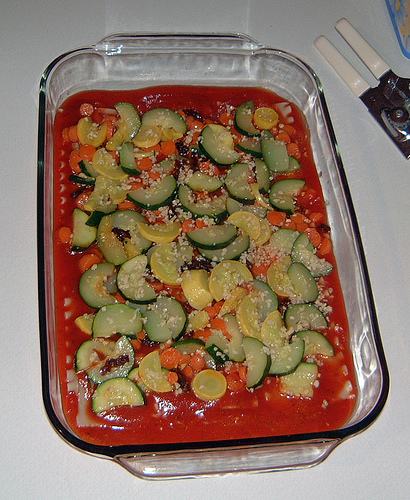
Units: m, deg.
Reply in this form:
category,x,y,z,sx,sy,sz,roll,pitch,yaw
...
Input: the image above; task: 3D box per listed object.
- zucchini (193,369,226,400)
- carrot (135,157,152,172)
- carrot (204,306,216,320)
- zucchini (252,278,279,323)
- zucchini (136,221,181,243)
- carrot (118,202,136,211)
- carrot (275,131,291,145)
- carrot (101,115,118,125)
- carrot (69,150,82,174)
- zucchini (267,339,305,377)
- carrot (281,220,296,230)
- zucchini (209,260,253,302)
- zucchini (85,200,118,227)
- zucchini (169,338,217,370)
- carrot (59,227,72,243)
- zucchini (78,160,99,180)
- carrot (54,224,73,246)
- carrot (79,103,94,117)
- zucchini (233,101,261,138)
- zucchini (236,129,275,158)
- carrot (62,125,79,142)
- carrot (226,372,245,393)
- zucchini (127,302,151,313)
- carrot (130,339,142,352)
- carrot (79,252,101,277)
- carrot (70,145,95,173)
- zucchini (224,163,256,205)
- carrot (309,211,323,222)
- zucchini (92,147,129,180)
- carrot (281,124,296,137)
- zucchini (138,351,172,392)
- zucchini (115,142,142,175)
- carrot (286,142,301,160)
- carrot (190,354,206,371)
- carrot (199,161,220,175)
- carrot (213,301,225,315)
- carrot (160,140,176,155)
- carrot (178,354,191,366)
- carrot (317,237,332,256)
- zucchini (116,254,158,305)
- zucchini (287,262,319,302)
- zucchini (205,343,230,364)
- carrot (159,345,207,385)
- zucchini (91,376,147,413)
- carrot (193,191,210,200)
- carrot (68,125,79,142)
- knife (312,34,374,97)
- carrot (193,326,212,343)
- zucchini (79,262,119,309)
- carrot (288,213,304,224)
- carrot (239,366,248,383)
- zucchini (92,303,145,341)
category,x,y,z,sx,sy,sz,roll,pitch,yaw
zucchini,0.020,0.539,2.096,0.113,0.068,0.116,-19,49,-31
carrot,-0.272,-0.377,2.336,0.064,0.029,0.055,-5,90,-4
carrot,0.024,0.264,2.187,0.043,0.028,0.047,-1,71,-20
zucchini,0.251,0.205,2.226,0.123,0.032,0.258,14,21,8
zucchini,-0.182,-0.078,2.236,0.202,0.079,0.092,-12,46,-25
carrot,-0.352,-0.184,2.300,0.046,0.011,0.046,-16,42,-18
carrot,0.360,-0.514,2.421,0.083,0.070,0.021,6,-2,12
carrot,-0.435,-0.589,2.384,0.059,0.018,0.051,1,64,-2
carrot,-0.560,-0.390,2.310,0.076,0.082,0.049,0,1,4
zucchini,0.329,0.445,2.141,0.136,0.124,0.120,7,42,-6
carrot,0.372,-0.109,2.337,0.047,0.013,0.044,0,88,5
zucchini,0.100,0.132,2.190,0.172,0.053,0.163,8,79,-14
zucchini,-0.441,-0.151,2.248,0.085,0.044,0.127,40,59,-14
zucchini,-0.042,0.417,2.145,0.168,0.117,0.037,16,42,1
carrot,-0.589,-0.064,2.204,0.059,0.032,0.054,24,77,-18
zucchini,-0.507,-0.343,2.296,0.053,0.095,0.029,-32,17,-21
carrot,-0.600,-0.065,2.229,0.077,0.057,0.101,-1,42,-14
carrot,-0.537,-0.633,2.379,0.066,0.017,0.057,2,84,-3
zucchini,0.203,-0.613,2.448,0.149,0.040,0.203,7,67,-3
zucchini,0.227,-0.478,2.361,0.146,0.035,0.133,-23,80,5
carrot,-0.598,-0.517,2.342,0.074,0.069,0.048,7,42,-7
carrot,0.119,0.529,2.104,0.069,0.034,0.062,-3,66,-9
zucchini,-0.271,0.245,2.181,0.062,0.015,0.056,8,10,-25
carrot,-0.277,0.389,2.144,0.029,0.049,0.045,15,68,-43
carrot,-0.486,0.059,2.224,0.088,0.069,0.049,-41,105,-8
carrot,-0.538,-0.403,2.339,0.079,0.057,0.126,30,88,6
zucchini,0.159,-0.300,2.376,0.070,0.182,0.251,12,24,41
carrot,0.500,-0.148,2.363,0.049,0.028,0.043,14,41,3
zucchini,-0.415,-0.358,2.291,0.173,0.029,0.102,47,66,-5
carrot,0.396,-0.555,2.459,0.044,0.018,0.061,-43,102,-4
zucchini,-0.193,0.484,2.072,0.130,0.194,0.024,4,34,-4
zucchini,-0.321,-0.402,2.307,0.124,0.043,0.196,-7,74,-8
carrot,0.414,-0.452,2.395,0.057,0.066,0.018,-12,18,2
carrot,-0.030,0.452,2.122,0.063,0.034,0.053,11,72,-8
carrot,0.026,-0.373,2.371,0.072,0.062,0.039,61,36,-12
carrot,0.062,0.244,2.193,0.047,0.049,0.044,2,4,4
carrot,-0.162,-0.458,2.358,0.067,0.067,0.063,1,4,15
carrot,-0.080,0.445,2.126,0.048,0.040,0.011,3,2,-24
carrot,0.540,-0.015,2.351,0.054,0.066,0.066,23,42,11
zucchini,-0.287,0.129,2.166,0.140,0.134,0.185,-12,46,-25
zucchini,0.429,0.139,2.251,0.099,0.027,0.178,-32,90,-12
zucchini,0.053,0.419,2.127,0.103,0.027,0.055,43,71,-12
carrot,-0.097,0.455,2.118,0.166,0.047,0.146,-6,88,-27
zucchini,-0.334,0.565,2.069,0.211,0.106,0.106,3,42,-10
carrot,-0.016,-0.237,2.345,0.052,0.045,0.012,18,70,3
carrot,-0.585,-0.515,2.329,0.047,0.053,0.056,-3,81,4
knife,0.664,-0.873,2.594,0.458,0.140,0.076,51,11,10
carrot,-0.009,0.351,2.176,0.059,0.026,0.052,-1,55,6
zucchini,-0.444,0.166,2.275,0.087,0.327,0.241,5,87,11
carrot,0.408,-0.138,2.355,0.051,0.027,0.045,2,71,20
carrot,0.160,0.499,2.123,0.017,0.049,0.045,-5,83,20
zucchini,-0.350,0.290,2.136,0.203,0.095,0.113,6,41,-7
